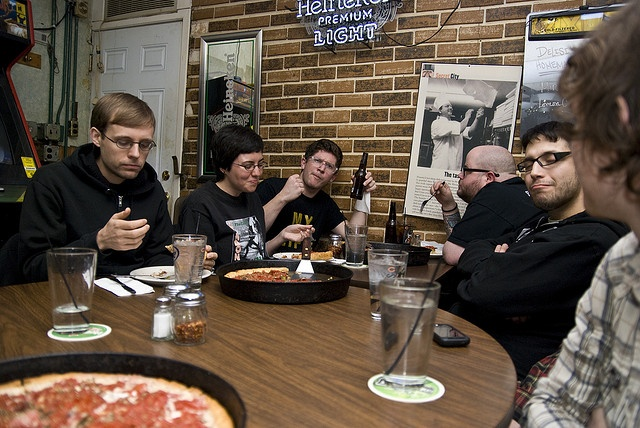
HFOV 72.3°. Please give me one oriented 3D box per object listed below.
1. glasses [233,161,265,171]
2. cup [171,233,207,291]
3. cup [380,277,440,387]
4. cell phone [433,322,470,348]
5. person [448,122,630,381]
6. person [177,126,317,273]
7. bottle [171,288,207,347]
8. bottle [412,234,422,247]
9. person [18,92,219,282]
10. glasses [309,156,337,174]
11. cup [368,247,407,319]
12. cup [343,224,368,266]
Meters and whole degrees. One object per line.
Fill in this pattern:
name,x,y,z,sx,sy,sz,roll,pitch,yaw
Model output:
glasses,-0.380,-0.281,2.492,0.091,0.058,0.238,8,10,25
cup,-0.458,0.170,1.542,0.122,0.186,0.122,1,-1,0
cup,0.195,0.275,1.018,0.129,0.233,0.076,6,10,10
cell phone,0.378,0.341,1.247,0.076,0.022,0.076,3,15,-13
person,0.940,0.291,1.839,0.560,1.299,0.586,-12,22,-4
person,-0.530,-0.087,2.742,0.772,1.067,0.835,-1,3,19
bottle,-0.345,0.280,1.181,0.089,0.123,0.088,0,2,0
bottle,0.642,0.177,2.927,0.044,0.095,0.041,0,17,0
person,-0.988,-0.154,2.001,0.668,0.821,0.487,-3,12,-36
glasses,0.025,-0.364,3.278,0.149,0.045,0.151,23,-16,-12
cup,0.213,0.224,1.420,0.143,0.215,0.144,4,-2,0
cup,0.184,0.163,2.144,0.133,0.204,0.135,5,-3,0
